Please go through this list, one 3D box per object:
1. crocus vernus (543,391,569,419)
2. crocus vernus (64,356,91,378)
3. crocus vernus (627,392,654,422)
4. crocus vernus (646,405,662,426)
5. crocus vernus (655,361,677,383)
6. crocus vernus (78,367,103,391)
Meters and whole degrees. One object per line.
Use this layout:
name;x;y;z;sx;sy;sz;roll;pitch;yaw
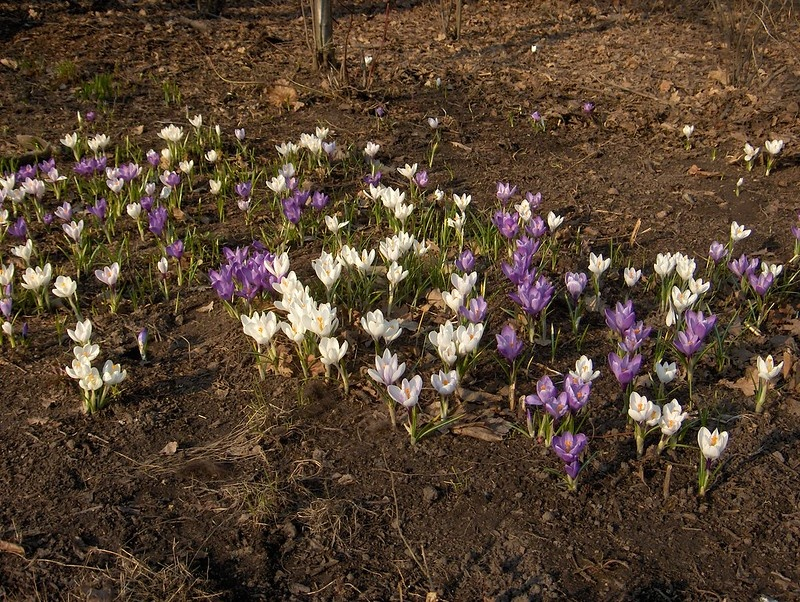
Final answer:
crocus vernus;0.801;0.539;3.855;0.101;0.093;0.138;1;43;7
crocus vernus;-1.729;0.353;4.099;0.105;0.108;0.142;1;12;3
crocus vernus;1.218;0.538;3.849;0.111;0.099;0.156;4;20;2
crocus vernus;1.315;0.588;3.919;0.074;0.078;0.110;7;32;8
crocus vernus;1.437;0.384;4.102;0.079;0.084;0.091;5;31;6
crocus vernus;-1.650;0.414;4.071;0.093;0.097;0.125;9;3;6
